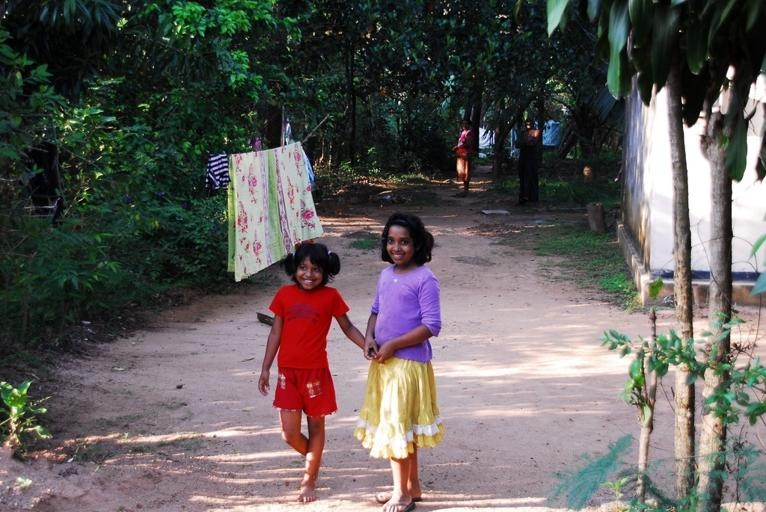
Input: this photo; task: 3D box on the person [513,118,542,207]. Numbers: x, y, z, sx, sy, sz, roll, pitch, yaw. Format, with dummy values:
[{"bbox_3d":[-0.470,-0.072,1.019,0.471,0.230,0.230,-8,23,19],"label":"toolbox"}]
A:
[{"bbox_3d":[3.176,-2.053,16.588,0.440,1.863,1.161,-2,6,9],"label":"person"}]
